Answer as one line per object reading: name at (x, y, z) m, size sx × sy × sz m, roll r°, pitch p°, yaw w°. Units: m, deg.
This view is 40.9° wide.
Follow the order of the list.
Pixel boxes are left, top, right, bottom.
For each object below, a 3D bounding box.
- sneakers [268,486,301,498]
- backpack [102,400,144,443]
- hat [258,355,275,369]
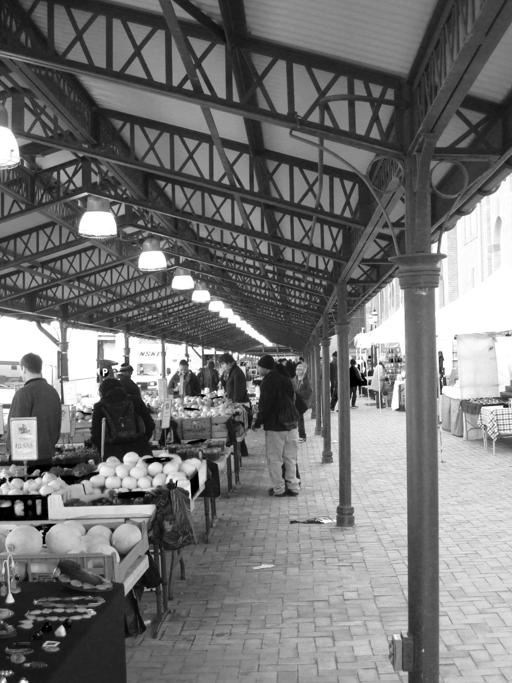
sneakers at (0.401, 2.139, 9.949) m, size 0.378 × 0.208 × 0.160 m, roll 2°, pitch -7°, yaw 1°
backpack at (-1.406, 0.826, 7.133) m, size 0.252 × 0.333 × 0.186 m, roll -15°, pitch -25°, yaw -19°
hat at (0.157, 0.291, 10.151) m, size 0.183 × 0.178 × 0.201 m, roll 6°, pitch -13°, yaw -19°
